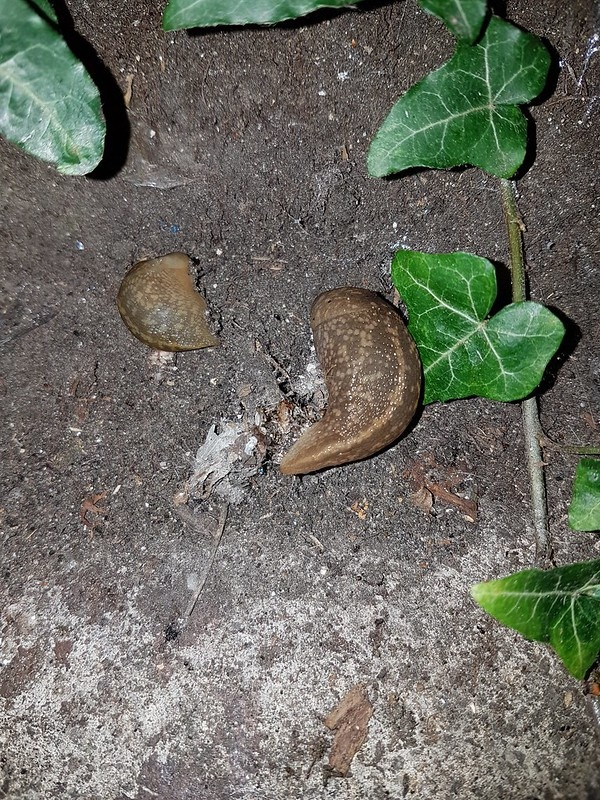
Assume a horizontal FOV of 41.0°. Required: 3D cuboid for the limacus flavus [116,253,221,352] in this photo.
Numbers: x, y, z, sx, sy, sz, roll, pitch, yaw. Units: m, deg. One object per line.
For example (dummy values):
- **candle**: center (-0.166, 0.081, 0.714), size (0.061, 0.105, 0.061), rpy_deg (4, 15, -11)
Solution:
- **limacus flavus**: center (-0.213, -0.163, 1.246), size (0.167, 0.048, 0.149), rpy_deg (11, 75, 15)
